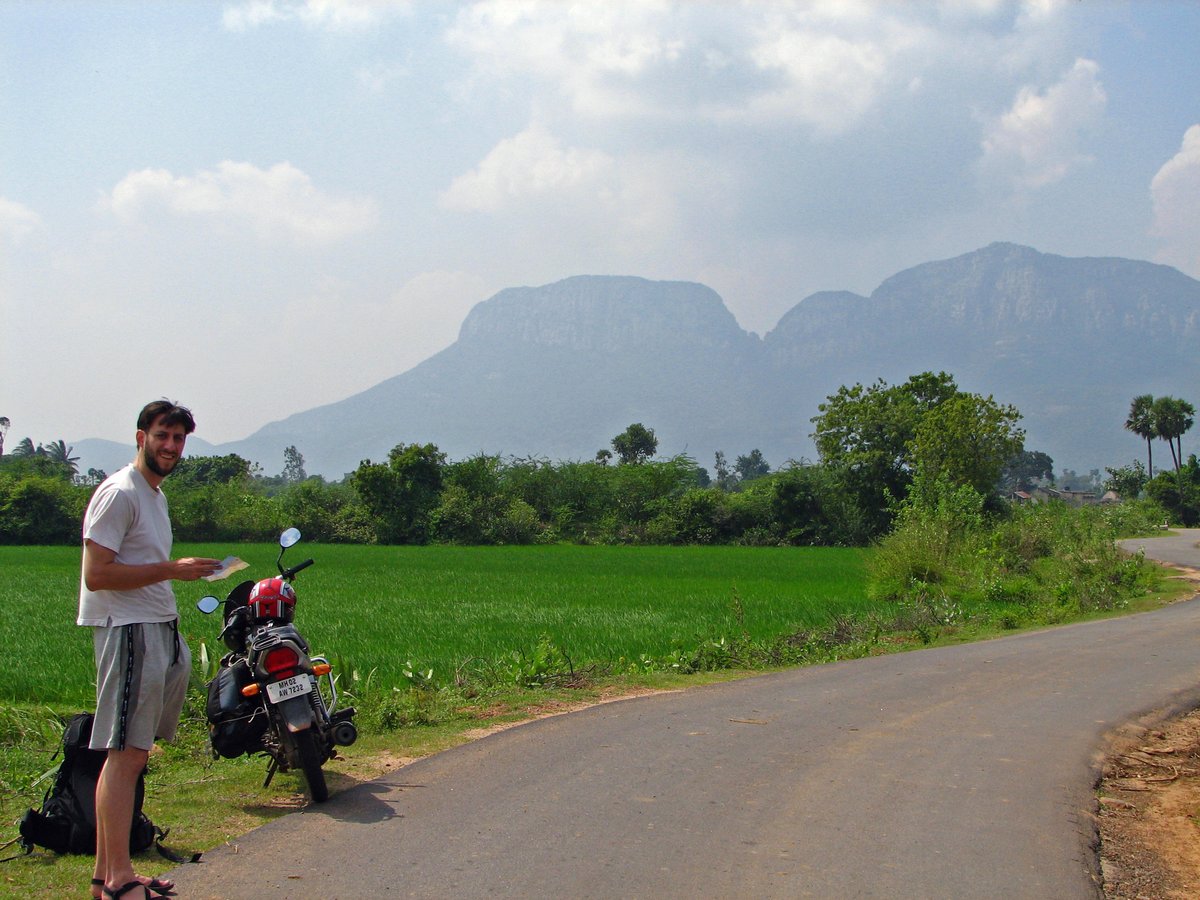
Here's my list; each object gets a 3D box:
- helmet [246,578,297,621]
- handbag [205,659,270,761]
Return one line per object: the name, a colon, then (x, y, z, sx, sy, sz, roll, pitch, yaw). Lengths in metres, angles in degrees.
helmet: (-3.401, 1.527, 11.987, 0.358, 0.412, 0.477, 0, -3, -1)
handbag: (-3.652, 2.661, 12.001, 0.888, 0.958, 0.669, 0, -4, -11)
